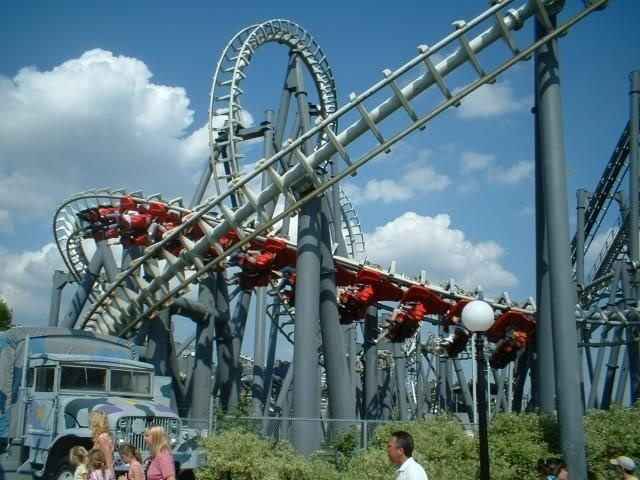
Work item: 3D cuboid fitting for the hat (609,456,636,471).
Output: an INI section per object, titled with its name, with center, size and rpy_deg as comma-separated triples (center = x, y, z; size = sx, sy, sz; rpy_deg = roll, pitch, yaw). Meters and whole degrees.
[hat]
center = 4.937, 3.617, 11.649
size = 0.345, 0.141, 0.247
rpy_deg = 0, -9, 39
